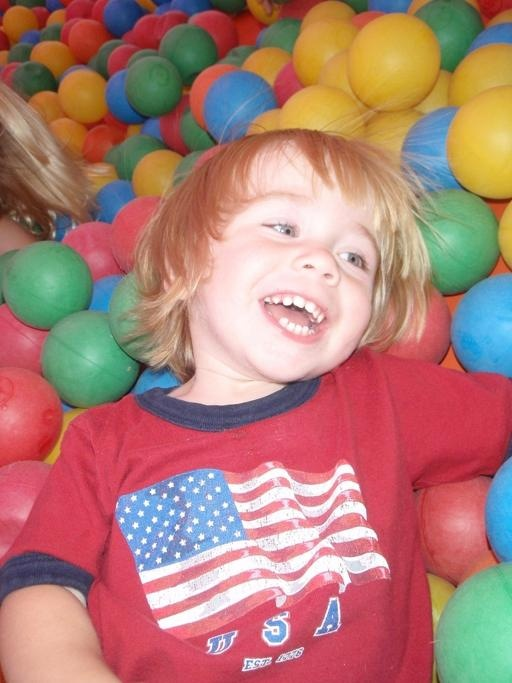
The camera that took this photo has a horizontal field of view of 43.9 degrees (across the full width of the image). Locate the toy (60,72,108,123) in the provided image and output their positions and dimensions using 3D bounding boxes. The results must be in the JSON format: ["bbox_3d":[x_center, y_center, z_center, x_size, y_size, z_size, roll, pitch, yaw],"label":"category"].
[{"bbox_3d":[-0.906,-1.293,3.345,0.231,0.212,0.247,16,31,-27],"label":"toy"}]

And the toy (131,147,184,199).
[{"bbox_3d":[-0.371,-0.647,2.416,0.161,0.171,0.163,-1,9,38],"label":"toy"}]

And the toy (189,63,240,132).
[{"bbox_3d":[-0.174,-0.883,2.339,0.261,0.259,0.233,2,11,1],"label":"toy"}]

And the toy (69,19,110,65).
[{"bbox_3d":[-1.085,-1.961,4.111,0.253,0.234,0.260,4,84,-4],"label":"toy"}]

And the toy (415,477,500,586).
[{"bbox_3d":[0.375,0.344,1.238,0.155,0.192,0.152,-11,18,40],"label":"toy"}]

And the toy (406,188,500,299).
[{"bbox_3d":[0.440,-0.223,1.392,0.222,0.208,0.229,0,96,6],"label":"toy"}]

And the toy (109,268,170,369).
[{"bbox_3d":[-0.273,-0.074,1.605,0.196,0.183,0.204,-5,78,-22],"label":"toy"}]

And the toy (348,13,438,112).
[{"bbox_3d":[0.355,-0.693,1.615,0.228,0.186,0.280,-10,52,2],"label":"toy"}]

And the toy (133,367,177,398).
[{"bbox_3d":[-0.254,0.110,1.614,0.112,0.136,0.071,9,80,-20],"label":"toy"}]

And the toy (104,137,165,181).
[{"bbox_3d":[-0.569,-0.835,2.818,0.249,0.167,0.167,-13,46,-15],"label":"toy"}]

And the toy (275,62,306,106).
[{"bbox_3d":[0.096,-0.918,2.223,0.108,0.092,0.091,44,89,-3],"label":"toy"}]
